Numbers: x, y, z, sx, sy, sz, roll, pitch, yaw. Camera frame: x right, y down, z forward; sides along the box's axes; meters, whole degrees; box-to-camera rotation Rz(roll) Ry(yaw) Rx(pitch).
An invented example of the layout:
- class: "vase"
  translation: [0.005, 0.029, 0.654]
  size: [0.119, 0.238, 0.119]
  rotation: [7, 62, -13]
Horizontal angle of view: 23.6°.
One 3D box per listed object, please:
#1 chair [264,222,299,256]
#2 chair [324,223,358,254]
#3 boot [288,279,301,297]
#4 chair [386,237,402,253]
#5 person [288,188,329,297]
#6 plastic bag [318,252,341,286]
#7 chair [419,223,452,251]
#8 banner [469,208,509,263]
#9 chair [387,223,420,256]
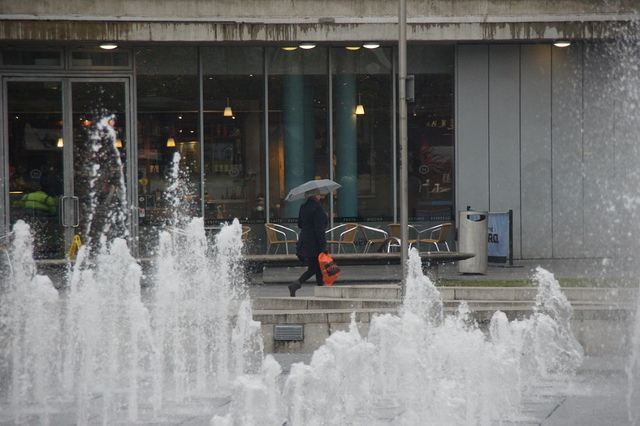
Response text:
- class: "chair"
  translation: [-1.053, 0.717, 40.551]
  size: [0.711, 0.782, 0.719]
  rotation: [-4, 7, -2]
- class: "chair"
  translation: [0.630, 0.731, 40.561]
  size: [0.715, 0.955, 0.687]
  rotation: [-4, 6, -33]
- class: "boot"
  translation: [-0.553, 1.665, 34.939]
  size: [0.321, 0.438, 0.167]
  rotation: [-3, 4, 0]
- class: "chair"
  translation: [1.928, 0.803, 39.613]
  size: [0.344, 0.471, 0.358]
  rotation: [0, 2, 22]
- class: "person"
  translation: [-0.225, 0.635, 35.398]
  size: [0.846, 2.454, 1.297]
  rotation: [-1, 2, 1]
- class: "plastic bag"
  translation: [0.212, 1.278, 35.412]
  size: [0.586, 0.631, 0.241]
  rotation: [-37, 12, -34]
- class: "chair"
  translation: [2.955, 0.721, 40.864]
  size: [0.761, 0.930, 0.781]
  rotation: [1, -1, -12]
- class: "banner"
  translation: [4.299, 0.590, 39.073]
  size: [1.401, 1.671, 0.193]
  rotation: [0, -2, 17]
- class: "chair"
  translation: [2.230, 0.631, 39.714]
  size: [0.752, 0.941, 0.706]
  rotation: [2, 8, 35]
